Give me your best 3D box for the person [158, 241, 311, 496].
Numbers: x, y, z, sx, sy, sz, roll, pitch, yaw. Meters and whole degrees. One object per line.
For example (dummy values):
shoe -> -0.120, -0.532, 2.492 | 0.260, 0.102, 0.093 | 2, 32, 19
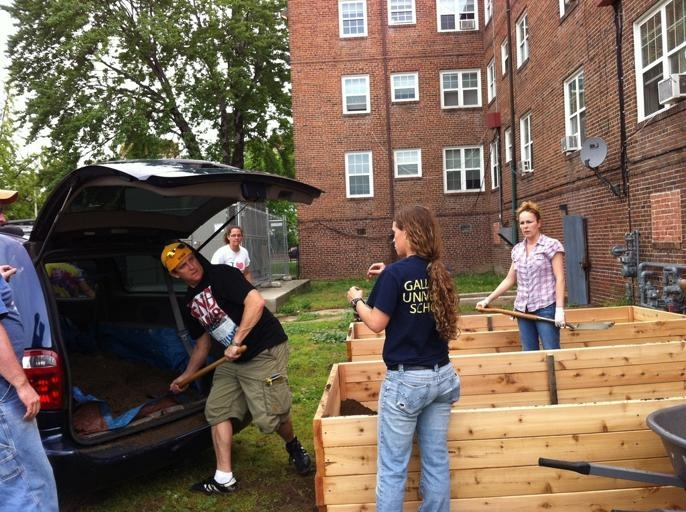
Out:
person -> -1.009, 1.019, 6.062 | 1.245, 2.252, 0.571 | -2, 0, 3

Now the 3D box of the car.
car -> -2.238, 0.603, 6.626 | 2.219, 2.127, 3.718 | -5, -3, -35

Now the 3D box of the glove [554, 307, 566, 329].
glove -> 2.346, 0.664, 6.976 | 0.156, 0.196, 0.058 | 1, -9, 12

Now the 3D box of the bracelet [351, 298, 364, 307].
bracelet -> 0.107, 0.354, 5.089 | 0.087, 0.086, 0.055 | -2, 35, -38

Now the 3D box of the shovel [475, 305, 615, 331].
shovel -> 2.448, 0.760, 7.811 | 1.632, 0.245, 0.300 | 2, 28, 19

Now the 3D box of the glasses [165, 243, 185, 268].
glasses -> -1.537, 0.000, 5.869 | 0.146, 0.125, 0.108 | -48, 11, 34

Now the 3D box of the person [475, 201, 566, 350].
person -> 2.154, 0.228, 7.141 | 0.680, 1.691, 0.887 | -2, 0, 5

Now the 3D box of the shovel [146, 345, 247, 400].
shovel -> -1.460, 1.186, 6.508 | 1.222, 0.107, 0.136 | -34, -26, 33

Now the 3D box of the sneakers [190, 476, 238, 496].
sneakers -> -1.189, 2.125, 6.012 | 0.445, 0.165, 0.161 | 5, -19, 7
